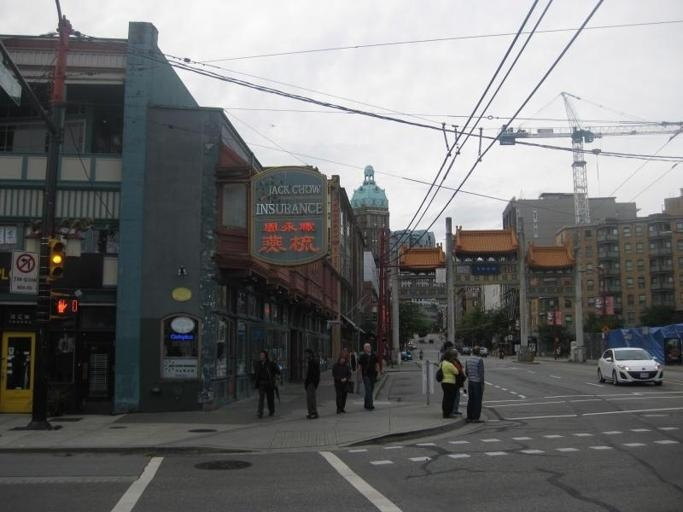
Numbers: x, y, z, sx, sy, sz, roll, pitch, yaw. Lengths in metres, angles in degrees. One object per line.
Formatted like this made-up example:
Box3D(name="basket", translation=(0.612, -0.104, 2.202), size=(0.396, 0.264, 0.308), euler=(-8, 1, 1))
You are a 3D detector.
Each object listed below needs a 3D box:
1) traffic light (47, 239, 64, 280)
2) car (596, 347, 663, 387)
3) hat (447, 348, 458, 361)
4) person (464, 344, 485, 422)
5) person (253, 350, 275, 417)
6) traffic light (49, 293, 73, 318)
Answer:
Box3D(name="traffic light", translation=(-7.855, 0.074, 19.639), size=(0.333, 1.099, 0.476), euler=(0, -8, -5))
Box3D(name="car", translation=(12.555, 4.769, 30.919), size=(2.175, 1.633, 2.392), euler=(-3, -9, 12))
Box3D(name="hat", translation=(3.165, 2.859, 20.673), size=(0.335, 0.359, 0.263), euler=(5, 22, 0))
Box3D(name="person", translation=(3.810, 3.837, 20.568), size=(0.526, 1.835, 0.872), euler=(-2, -8, 10))
Box3D(name="person", translation=(-2.436, 4.025, 22.574), size=(0.607, 2.067, 1.184), euler=(-1, -8, 0))
Box3D(name="traffic light", translation=(-7.876, 1.391, 19.928), size=(0.345, 0.665, 0.665), euler=(-1, -4, 31))
